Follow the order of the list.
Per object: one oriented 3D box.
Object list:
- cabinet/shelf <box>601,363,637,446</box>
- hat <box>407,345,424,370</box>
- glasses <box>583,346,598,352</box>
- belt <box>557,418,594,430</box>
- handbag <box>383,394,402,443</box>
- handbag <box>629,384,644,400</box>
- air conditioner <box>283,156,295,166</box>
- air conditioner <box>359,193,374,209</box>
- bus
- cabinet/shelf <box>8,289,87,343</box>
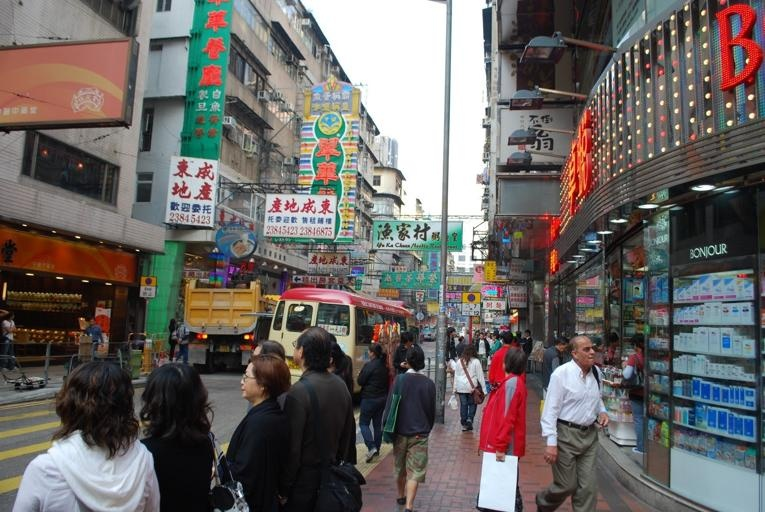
[{"bbox_3d":[4.408,2.796,10.534,0.574,1.272,0.602,1,1,10],"label":"cabinet/shelf"},{"bbox_3d":[0.456,1.446,7.925,0.225,0.328,0.458,1,-8,5],"label":"hat"},{"bbox_3d":[2.491,1.113,6.720,0.097,0.082,0.290,-3,-9,36],"label":"glasses"},{"bbox_3d":[2.274,1.971,6.584,0.421,0.107,0.108,3,-7,-7],"label":"belt"},{"bbox_3d":[0.100,2.202,7.619,0.179,0.658,0.255,7,-9,-32],"label":"handbag"},{"bbox_3d":[4.345,2.318,9.596,0.270,0.114,0.310,5,-34,26],"label":"handbag"},{"bbox_3d":[-5.949,-6.081,35.558,0.536,0.540,0.560,10,2,7],"label":"air conditioner"},{"bbox_3d":[-1.959,-5.919,61.784,1.645,2.476,2.622,3,10,7],"label":"air conditioner"},{"bbox_3d":[-1.054,2.892,20.117,2.854,3.281,8.981,1,-6,16],"label":"bus"},{"bbox_3d":[-13.393,2.304,22.249,2.907,1.515,2.728,1,12,-6],"label":"cabinet/shelf"}]
